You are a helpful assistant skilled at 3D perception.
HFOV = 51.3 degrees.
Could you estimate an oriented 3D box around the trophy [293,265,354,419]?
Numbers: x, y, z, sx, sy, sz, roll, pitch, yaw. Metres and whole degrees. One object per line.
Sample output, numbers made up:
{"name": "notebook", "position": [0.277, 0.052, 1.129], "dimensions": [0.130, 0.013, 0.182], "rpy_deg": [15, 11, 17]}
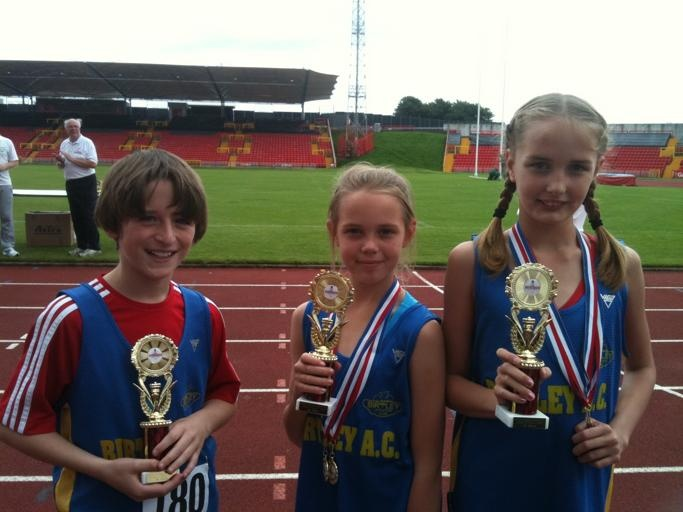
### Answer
{"name": "trophy", "position": [-0.078, 0.393, 3.288], "dimensions": [0.212, 0.657, 0.181], "rpy_deg": [6, 1, 29]}

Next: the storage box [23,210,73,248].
{"name": "storage box", "position": [-4.726, -0.434, 11.612], "dimensions": [0.710, 0.675, 0.581], "rpy_deg": [0, 4, -4]}

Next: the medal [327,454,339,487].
{"name": "medal", "position": [-0.038, 0.981, 3.257], "dimensions": [0.038, 0.143, 0.081], "rpy_deg": [-7, 13, -34]}

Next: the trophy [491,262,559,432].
{"name": "trophy", "position": [0.792, 0.381, 3.060], "dimensions": [0.214, 0.658, 0.306], "rpy_deg": [4, 11, 17]}

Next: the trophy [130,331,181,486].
{"name": "trophy", "position": [-0.799, 0.670, 3.120], "dimensions": [0.207, 0.630, 0.151], "rpy_deg": [-2, 7, 7]}

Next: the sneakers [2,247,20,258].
{"name": "sneakers", "position": [-4.957, -0.049, 10.713], "dimensions": [0.326, 0.136, 0.131], "rpy_deg": [6, -1, 42]}
